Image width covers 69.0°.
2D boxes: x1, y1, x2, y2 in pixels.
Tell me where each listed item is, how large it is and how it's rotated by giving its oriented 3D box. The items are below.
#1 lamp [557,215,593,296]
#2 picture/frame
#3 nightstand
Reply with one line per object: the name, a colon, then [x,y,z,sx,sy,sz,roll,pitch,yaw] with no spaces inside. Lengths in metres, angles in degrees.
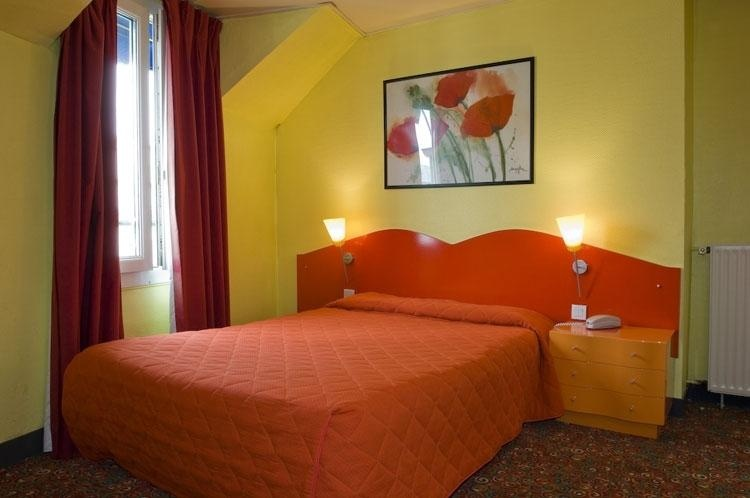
lamp: [1.650,0.056,4.632,0.264,0.712,0.175,6,15,18]
picture/frame: [0.826,-1.161,5.010,1.260,0.947,0.028,0,3,30]
nightstand: [1.897,0.863,4.481,1.012,1.004,0.717,-1,-1,30]
